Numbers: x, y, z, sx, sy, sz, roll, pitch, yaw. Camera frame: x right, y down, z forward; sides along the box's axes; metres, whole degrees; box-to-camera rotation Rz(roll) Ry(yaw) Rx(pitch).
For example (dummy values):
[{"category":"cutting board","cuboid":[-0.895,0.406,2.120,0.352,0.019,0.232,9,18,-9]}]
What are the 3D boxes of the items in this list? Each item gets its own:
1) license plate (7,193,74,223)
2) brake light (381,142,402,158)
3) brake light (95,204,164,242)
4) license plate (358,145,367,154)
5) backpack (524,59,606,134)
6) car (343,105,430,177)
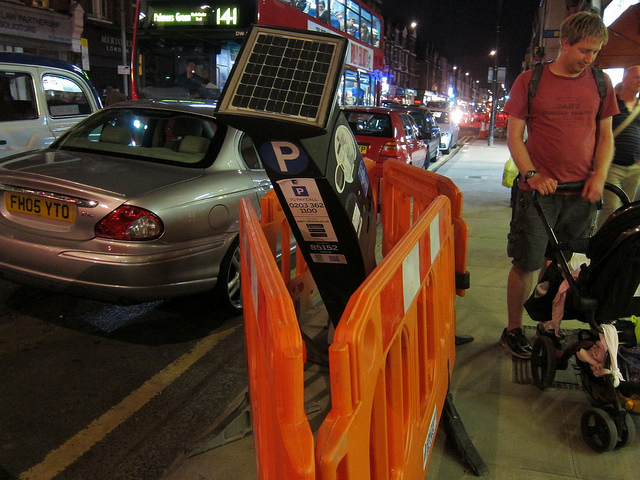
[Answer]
[{"category":"license plate","cuboid":[-2.330,-0.274,3.915,0.775,0.156,0.037,11,20,21]},{"category":"brake light","cuboid":[1.551,-1.924,10.029,0.588,0.309,0.264,-12,24,-37]},{"category":"brake light","cuboid":[-1.503,-0.171,3.851,0.465,0.291,0.352,4,14,14]},{"category":"license plate","cuboid":[0.900,-1.941,10.070,0.159,0.157,0.205,3,19,1]},{"category":"backpack","cuboid":[1.821,-1.161,3.707,0.538,0.675,0.475,7,36,15]},{"category":"car","cuboid":[1.534,-2.312,11.210,1.850,1.436,3.097,7,22,28]}]
